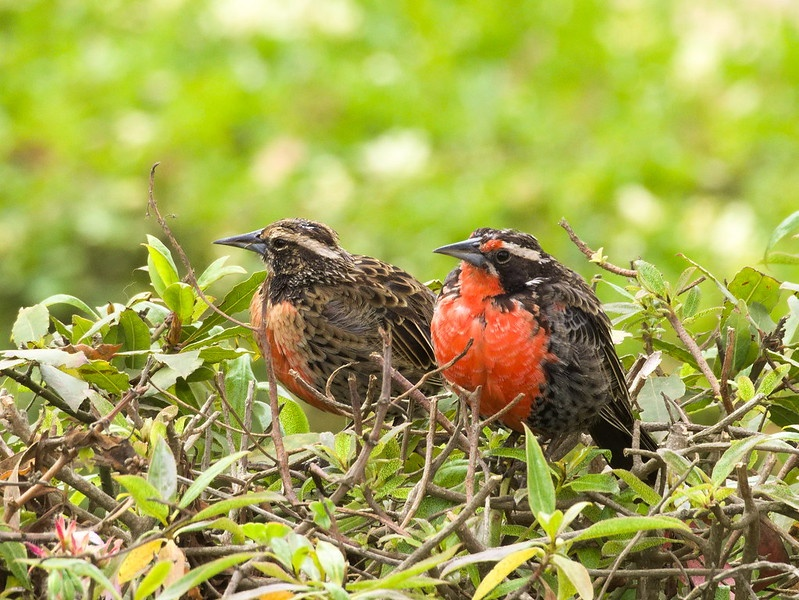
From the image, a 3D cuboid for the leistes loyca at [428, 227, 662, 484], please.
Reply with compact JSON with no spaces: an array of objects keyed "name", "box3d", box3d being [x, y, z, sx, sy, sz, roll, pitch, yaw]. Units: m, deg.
[{"name":"leistes loyca","box3d":[0.486,0.199,3.628,0.702,0.955,0.532,-7,9,1]}]
